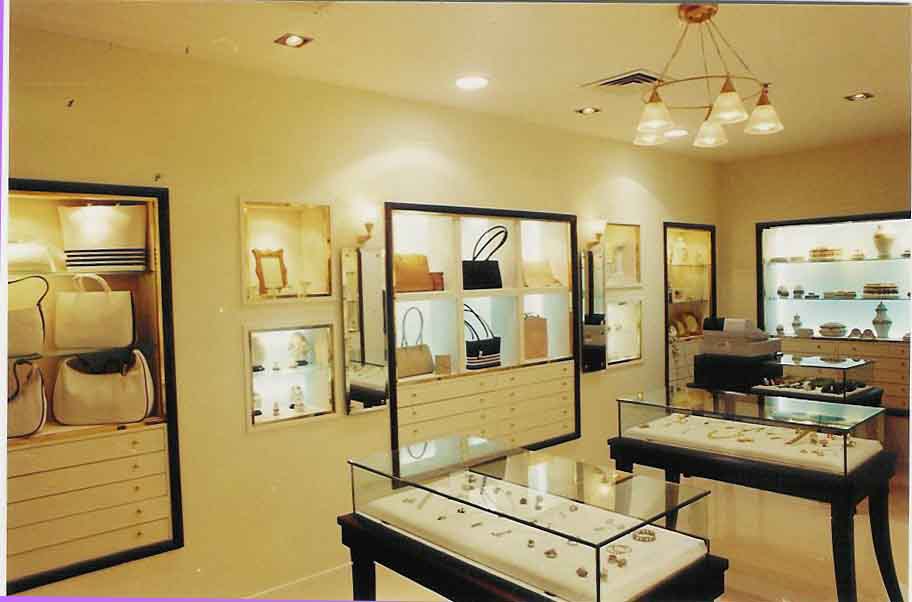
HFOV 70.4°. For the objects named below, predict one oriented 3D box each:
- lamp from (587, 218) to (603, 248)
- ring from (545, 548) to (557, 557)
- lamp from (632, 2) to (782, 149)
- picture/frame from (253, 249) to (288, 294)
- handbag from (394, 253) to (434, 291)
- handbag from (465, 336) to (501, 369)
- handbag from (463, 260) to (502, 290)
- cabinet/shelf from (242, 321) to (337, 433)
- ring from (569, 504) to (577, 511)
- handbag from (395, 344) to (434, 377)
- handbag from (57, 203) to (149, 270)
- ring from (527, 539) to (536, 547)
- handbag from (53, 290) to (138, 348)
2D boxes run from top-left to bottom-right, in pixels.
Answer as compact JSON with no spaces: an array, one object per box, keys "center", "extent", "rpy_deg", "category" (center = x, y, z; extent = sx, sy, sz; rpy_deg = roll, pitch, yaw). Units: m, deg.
[{"center":[0.594,-0.289,2.748],"extent":[0.075,0.119,0.046],"rpy_deg":[0,4,6],"category":"lamp"},{"center":[0.309,0.820,2.107],"extent":[0.031,0.012,0.029],"rpy_deg":[-9,13,-27],"category":"ring"},{"center":[1.084,-0.871,2.864],"extent":[0.536,0.526,0.599],"rpy_deg":[-7,-12,37],"category":"lamp"},{"center":[-0.825,-0.130,2.847],"extent":[0.033,0.246,0.189],"rpy_deg":[-6,1,43],"category":"picture/frame"},{"center":[-0.233,-0.151,3.404],"extent":[0.200,0.182,0.072],"rpy_deg":[-1,-2,-29],"category":"handbag"},{"center":[0.138,0.258,3.221],"extent":[0.211,0.139,0.119],"rpy_deg":[1,-5,-38],"category":"handbag"},{"center":[0.136,-0.140,3.548],"extent":[0.174,0.141,0.049],"rpy_deg":[1,-6,-25],"category":"handbag"},{"center":[-0.761,0.339,2.881],"extent":[0.526,0.480,0.180],"rpy_deg":[-3,5,-44],"category":"cabinet/shelf"},{"center":[0.397,0.701,2.197],"extent":[0.028,0.013,0.031],"rpy_deg":[-1,3,0],"category":"ring"},{"center":[-0.207,0.294,3.147],"extent":[0.142,0.129,0.048],"rpy_deg":[-6,-28,-15],"category":"handbag"},{"center":[-1.395,-0.261,2.579],"extent":[0.308,0.254,0.272],"rpy_deg":[-2,0,-19],"category":"handbag"},{"center":[0.249,0.803,2.145],"extent":[0.026,0.025,0.010],"rpy_deg":[-4,-40,22],"category":"ring"},{"center":[-1.435,0.070,2.546],"extent":[0.243,0.223,0.094],"rpy_deg":[0,-2,-28],"category":"handbag"}]
